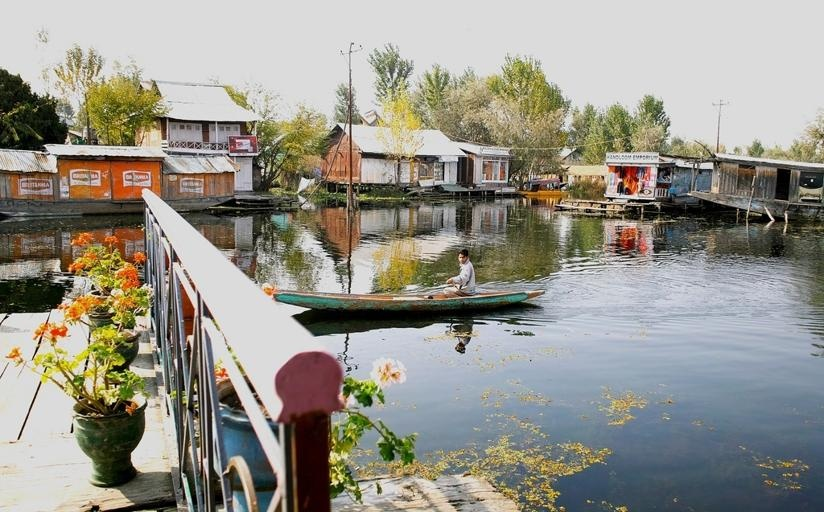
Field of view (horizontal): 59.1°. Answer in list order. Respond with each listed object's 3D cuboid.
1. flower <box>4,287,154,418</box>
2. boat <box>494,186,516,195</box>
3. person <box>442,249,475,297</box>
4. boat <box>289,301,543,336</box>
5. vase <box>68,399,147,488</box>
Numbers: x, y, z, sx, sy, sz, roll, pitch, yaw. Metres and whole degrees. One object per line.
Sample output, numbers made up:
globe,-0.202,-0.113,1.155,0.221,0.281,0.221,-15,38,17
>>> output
flower,-4.219,1.277,9.269,1.162,1.319,1.117,2,24,-14
boat,7.295,-5.103,57.058,0.572,0.634,2.560,8,10,42
person,1.067,0.480,16.359,0.711,1.231,0.634,-2,12,-18
boat,-0.075,1.296,14.938,4.252,0.623,0.832,2,2,-19
vase,-3.395,2.136,8.212,0.821,0.776,0.825,-2,-1,19
